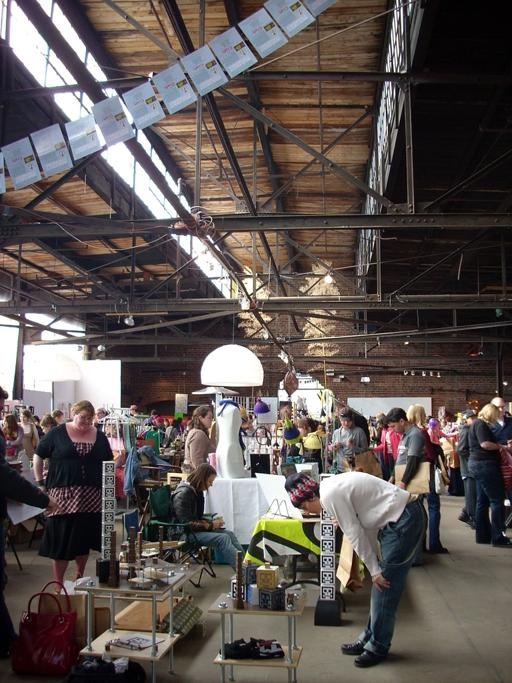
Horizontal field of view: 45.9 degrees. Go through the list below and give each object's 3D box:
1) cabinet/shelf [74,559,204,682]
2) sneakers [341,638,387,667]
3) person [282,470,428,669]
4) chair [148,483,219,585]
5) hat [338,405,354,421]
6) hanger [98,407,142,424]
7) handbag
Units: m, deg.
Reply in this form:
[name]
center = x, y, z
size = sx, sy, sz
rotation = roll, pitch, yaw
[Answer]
[cabinet/shelf]
center = -0.603, 1.465, 3.134
size = 0.404, 0.486, 0.756
rotation = -1, -5, 9
[sneakers]
center = 0.558, 1.679, 3.288
size = 0.268, 0.104, 0.086
rotation = 3, -6, 36
[person]
center = 0.621, 1.197, 3.133
size = 0.485, 1.032, 0.628
rotation = -1, -8, 16
[chair]
center = -0.589, 1.576, 4.949
size = 0.564, 0.670, 0.596
rotation = 3, -4, 10
[hat]
center = 1.000, 0.798, 6.680
size = 0.124, 0.138, 0.146
rotation = 4, -29, 6
[hanger]
center = -2.474, 1.354, 10.987
size = 0.724, 0.286, 0.704
rotation = 9, -13, -38
[handbag]
center = -1.063, 1.492, 3.169
size = 0.329, 0.392, 0.355
rotation = 1, -7, -5
